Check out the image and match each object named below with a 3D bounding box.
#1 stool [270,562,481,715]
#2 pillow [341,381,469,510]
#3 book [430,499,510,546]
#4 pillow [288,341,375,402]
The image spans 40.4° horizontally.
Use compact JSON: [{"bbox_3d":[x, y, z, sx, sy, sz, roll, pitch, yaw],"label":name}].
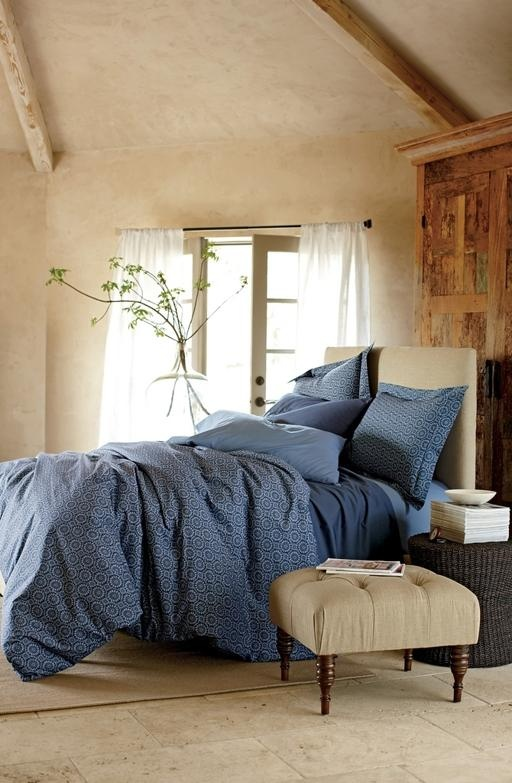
[{"bbox_3d":[0.357,0.748,2.124,0.546,0.385,0.384,3,-5,-19],"label":"stool"},{"bbox_3d":[0.753,0.202,3.169,0.162,0.535,0.532,36,-6,-29],"label":"pillow"},{"bbox_3d":[0.775,0.477,2.512,0.161,0.100,0.203,0,1,17],"label":"book"},{"bbox_3d":[0.387,-0.083,4.057,0.200,0.298,0.644,-8,5,-22],"label":"pillow"}]
